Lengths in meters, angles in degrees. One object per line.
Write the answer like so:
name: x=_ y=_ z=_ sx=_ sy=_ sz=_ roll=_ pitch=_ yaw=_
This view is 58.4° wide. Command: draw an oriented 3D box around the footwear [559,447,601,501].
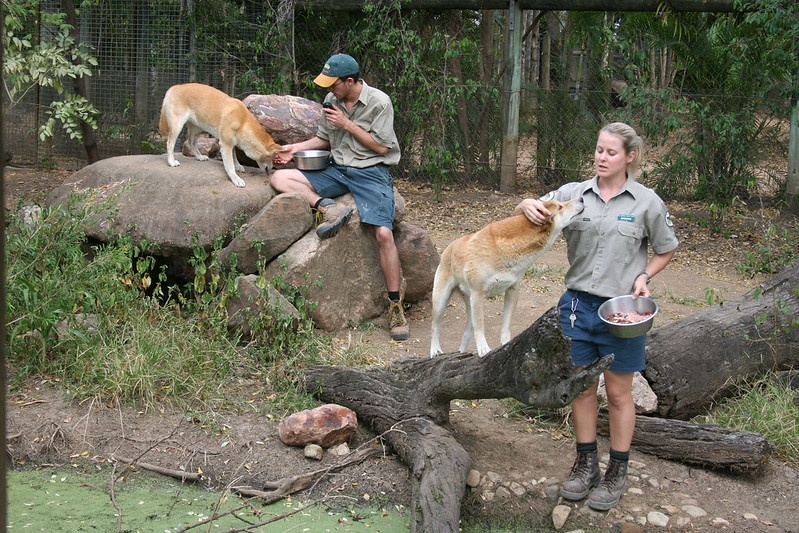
footwear: x=1.415 y=1.590 z=5.496 sx=0.192 sy=0.306 sz=0.492 roll=3 pitch=11 yaw=39

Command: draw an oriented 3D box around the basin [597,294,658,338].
basin: x=1.601 y=0.375 z=4.974 sx=0.387 sy=0.313 sz=0.271 roll=4 pitch=7 yaw=15

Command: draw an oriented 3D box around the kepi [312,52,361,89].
kepi: x=-0.698 y=-2.171 z=7.722 sx=0.558 sy=0.274 sz=0.349 roll=-23 pitch=39 yaw=-19

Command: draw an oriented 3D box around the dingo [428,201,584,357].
dingo: x=0.873 y=0.175 z=6.501 sx=0.633 sy=1.241 sz=1.948 roll=8 pitch=-12 yaw=-35

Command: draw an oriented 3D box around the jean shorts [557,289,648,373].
jean shorts: x=1.550 y=0.462 z=5.344 sx=0.692 sy=0.626 sz=0.429 roll=4 pitch=15 yaw=44

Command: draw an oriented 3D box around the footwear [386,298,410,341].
footwear: x=0.006 y=0.576 z=7.747 sx=0.238 sy=0.379 sz=0.398 roll=2 pitch=7 yaw=-2

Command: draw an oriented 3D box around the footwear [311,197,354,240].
footwear: x=-0.789 y=-0.583 z=7.812 sx=0.342 sy=0.478 sz=0.183 roll=36 pitch=28 yaw=-37

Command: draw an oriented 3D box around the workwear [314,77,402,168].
workwear: x=-0.455 y=-1.631 z=8.155 sx=0.982 sy=0.926 sz=0.601 roll=8 pitch=11 yaw=27

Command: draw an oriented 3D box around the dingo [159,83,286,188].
dingo: x=-2.048 y=-1.508 z=8.120 sx=1.709 sy=0.961 sz=0.531 roll=22 pitch=23 yaw=14

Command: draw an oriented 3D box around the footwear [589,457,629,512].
footwear: x=1.636 y=1.650 z=5.521 sx=0.196 sy=0.304 sz=0.523 roll=19 pitch=17 yaw=29
